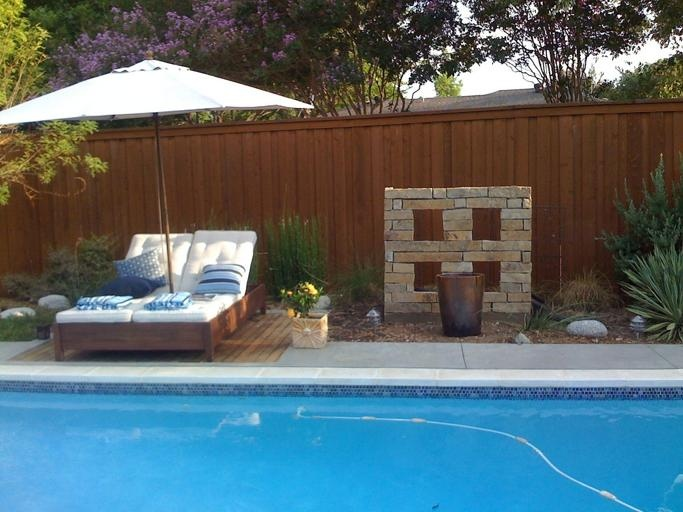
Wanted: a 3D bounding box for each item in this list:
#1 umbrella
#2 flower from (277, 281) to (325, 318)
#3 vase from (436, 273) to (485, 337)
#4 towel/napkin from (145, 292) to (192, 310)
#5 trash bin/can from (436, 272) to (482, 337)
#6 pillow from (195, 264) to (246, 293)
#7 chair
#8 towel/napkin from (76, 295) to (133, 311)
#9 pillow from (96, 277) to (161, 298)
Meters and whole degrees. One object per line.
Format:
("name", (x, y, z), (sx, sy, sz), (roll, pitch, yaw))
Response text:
("umbrella", (-2.047, -0.920, 8.354), (2.906, 2.614, 2.901), (-3, 3, 5))
("flower", (-0.482, 0.480, 7.702), (0.412, 0.350, 0.465), (0, 6, 8))
("vase", (1.405, 0.559, 7.901), (0.609, 0.739, 0.628), (0, 3, 26))
("towel/napkin", (-1.853, 0.494, 7.237), (0.491, 0.132, 0.308), (-5, 7, -14))
("trash bin/can", (1.357, 0.546, 7.899), (0.607, 0.736, 0.626), (0, 3, 27))
("pillow", (-1.426, 0.300, 7.970), (0.369, 0.127, 0.416), (1, 41, 6))
("chair", (-2.062, 0.423, 7.994), (1.823, 1.239, 2.001), (-2, 7, 8))
("towel/napkin", (-2.559, 0.510, 7.327), (0.572, 0.114, 0.382), (-6, 7, -23))
("pillow", (-2.553, 0.381, 8.092), (0.331, 0.114, 0.364), (3, 14, 15))
